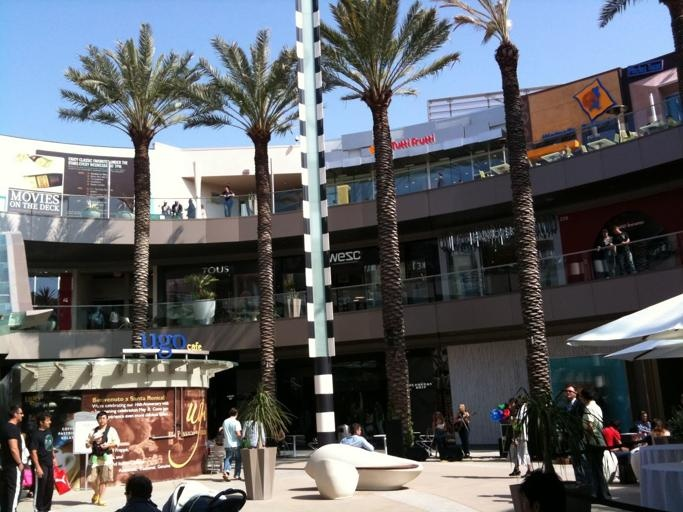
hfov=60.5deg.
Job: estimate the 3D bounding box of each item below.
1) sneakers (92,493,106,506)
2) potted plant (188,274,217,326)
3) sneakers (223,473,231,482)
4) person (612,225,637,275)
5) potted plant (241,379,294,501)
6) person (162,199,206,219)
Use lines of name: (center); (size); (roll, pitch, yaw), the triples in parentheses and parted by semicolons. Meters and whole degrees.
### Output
sneakers: (-5.674, 5.697, 13.650); (0.205, 0.242, 0.561); (12, -22, -30)
potted plant: (-6.578, 2.131, 27.566); (1.359, 2.252, 1.338); (-20, -28, 32)
sneakers: (-3.145, 6.063, 16.081); (0.199, 0.266, 0.548); (0, -13, -11)
person: (10.017, -0.159, 20.858); (0.524, 1.789, 1.280); (-8, -14, 23)
potted plant: (-1.972, 4.329, 13.700); (1.244, 2.733, 1.238); (3, -12, -20)
person: (-7.732, -2.290, 28.673); (2.253, 1.036, 0.240); (-3, -12, 4)
